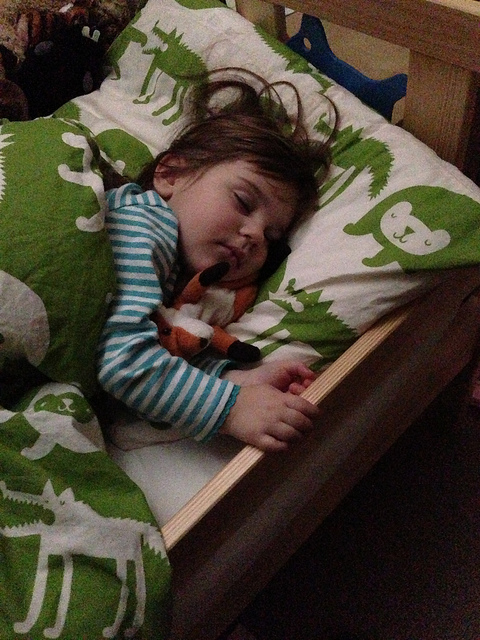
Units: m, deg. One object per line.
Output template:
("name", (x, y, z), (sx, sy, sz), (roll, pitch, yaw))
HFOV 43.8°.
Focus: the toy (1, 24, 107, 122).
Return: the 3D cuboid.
("toy", (-0.406, -0.462, 1.215), (0.067, 0.267, 0.157), (29, 35, -36))
